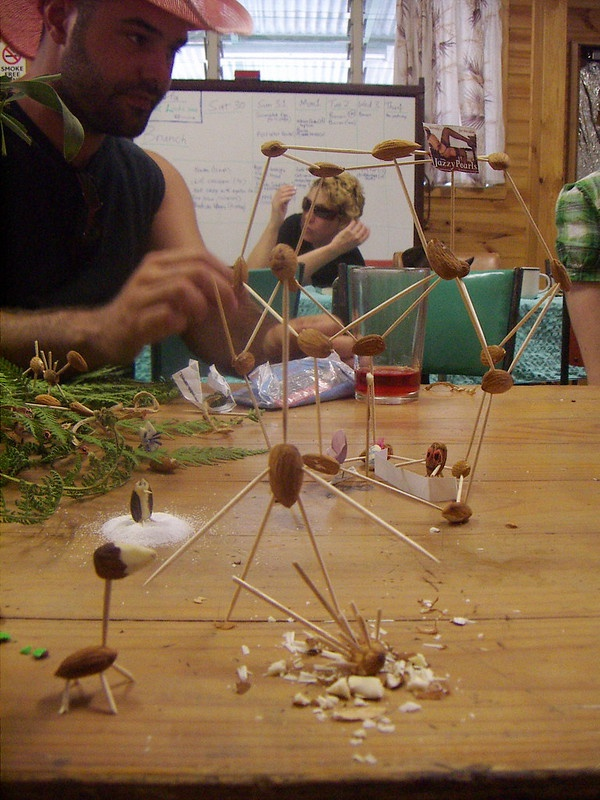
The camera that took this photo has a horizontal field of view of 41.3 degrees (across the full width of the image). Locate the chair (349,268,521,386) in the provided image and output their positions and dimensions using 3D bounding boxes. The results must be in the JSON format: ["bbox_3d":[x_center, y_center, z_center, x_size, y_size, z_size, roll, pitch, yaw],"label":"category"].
[{"bbox_3d":[0.334,-0.156,1.694,0.354,0.353,0.329,2,4,16],"label":"chair"}]

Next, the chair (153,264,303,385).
[{"bbox_3d":[-0.254,-0.204,2.161,0.399,0.312,0.352,-10,14,-33],"label":"chair"}]
